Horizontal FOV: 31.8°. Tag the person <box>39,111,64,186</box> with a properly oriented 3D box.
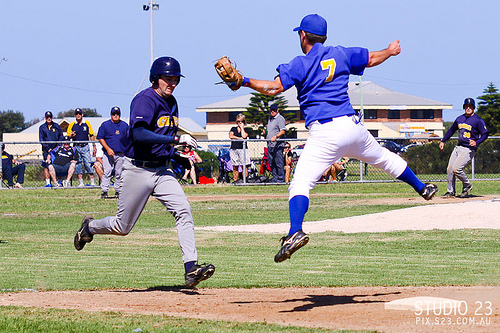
[{"bbox_3d":[-6.233,-0.571,27.570,0.692,2.254,1.417,1,1,-14],"label":"person"}]

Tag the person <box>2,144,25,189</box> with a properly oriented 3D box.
[{"bbox_3d":[-7.379,-0.017,27.425,0.660,1.325,1.024,1,1,-16],"label":"person"}]

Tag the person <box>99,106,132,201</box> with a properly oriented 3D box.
[{"bbox_3d":[-3.560,-0.399,23.405,0.984,2.394,0.713,-3,19,-22],"label":"person"}]
